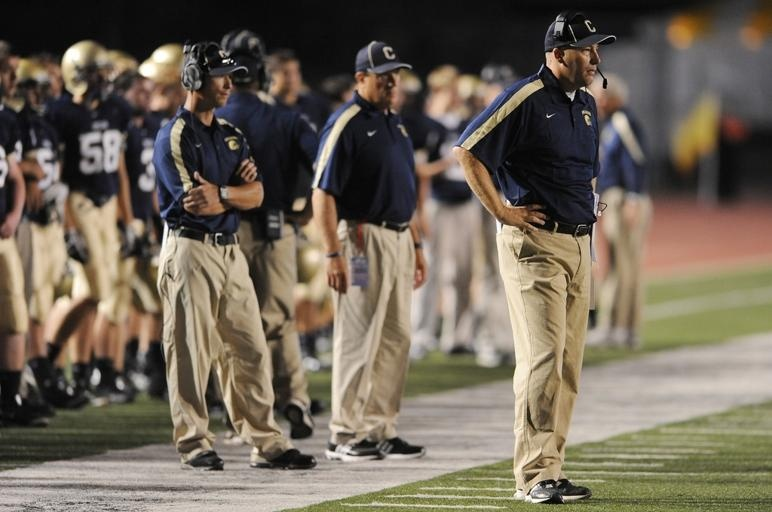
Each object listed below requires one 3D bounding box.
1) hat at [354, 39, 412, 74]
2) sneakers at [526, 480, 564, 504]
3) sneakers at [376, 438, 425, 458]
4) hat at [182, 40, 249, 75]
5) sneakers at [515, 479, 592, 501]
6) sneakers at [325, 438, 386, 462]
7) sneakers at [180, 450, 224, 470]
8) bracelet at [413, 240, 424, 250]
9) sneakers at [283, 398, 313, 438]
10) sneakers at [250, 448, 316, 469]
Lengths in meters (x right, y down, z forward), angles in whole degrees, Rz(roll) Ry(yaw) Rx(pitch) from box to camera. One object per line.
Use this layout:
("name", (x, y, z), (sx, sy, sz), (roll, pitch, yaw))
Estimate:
("hat", (-0.020, -1.902, 15.310), (0.398, 0.267, 0.566), (-13, 13, -41))
("sneakers", (1.426, 2.074, 14.210), (0.158, 0.143, 0.323), (6, -13, -32))
("sneakers", (0.139, 1.842, 15.507), (0.500, 0.206, 0.166), (1, 0, -4))
("hat", (-1.573, -1.835, 14.935), (0.667, 0.312, 0.458), (6, 18, 24))
("sneakers", (1.522, 2.074, 14.265), (0.421, 0.161, 0.266), (-7, 2, 1))
("sneakers", (-0.288, 1.837, 15.328), (0.530, 0.232, 0.210), (-1, -3, 7))
("sneakers", (-1.696, 1.870, 14.926), (0.342, 0.120, 0.177), (-1, 1, 35))
("bracelet", (0.321, -0.117, 15.658), (0.076, 0.068, 0.076), (2, 10, 19))
("sneakers", (-0.849, 1.602, 15.893), (0.200, 0.453, 0.212), (-23, 24, 7))
("sneakers", (-0.960, 1.891, 15.125), (0.616, 0.246, 0.217), (-1, -3, 2))
